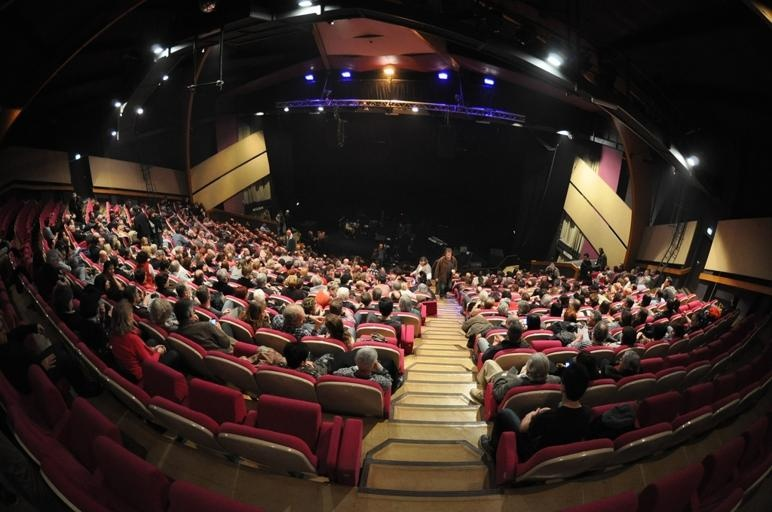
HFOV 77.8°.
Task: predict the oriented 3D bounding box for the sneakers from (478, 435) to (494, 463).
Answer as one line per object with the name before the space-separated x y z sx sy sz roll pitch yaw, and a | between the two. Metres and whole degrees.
sneakers | 1.747 3.400 8.406 0.179 0.429 0.172 -23 -36 14
